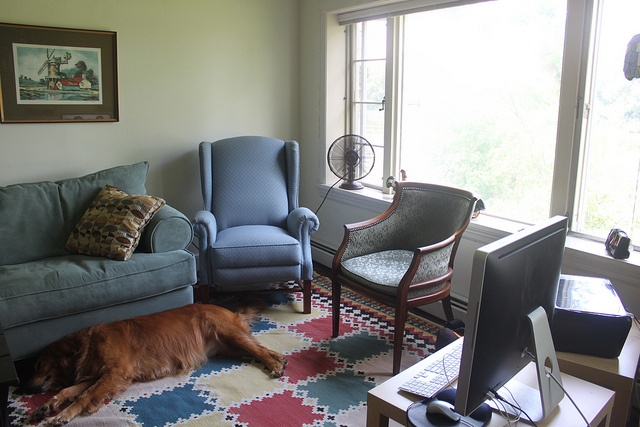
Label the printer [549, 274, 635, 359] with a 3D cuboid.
[{"bbox_3d":[1.367,0.621,2.585,0.393,0.250,0.506,5,36,16],"label":"printer"}]

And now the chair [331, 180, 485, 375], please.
[{"bbox_3d":[0.587,0.399,3.518,0.927,1.165,0.941,8,17,24],"label":"chair"}]

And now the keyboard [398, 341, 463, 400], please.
[{"bbox_3d":[0.544,0.778,2.390,0.146,0.067,0.487,29,38,34],"label":"keyboard"}]

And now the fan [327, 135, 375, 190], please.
[{"bbox_3d":[0.300,-0.491,4.505,0.536,0.605,0.278,0,-1,7],"label":"fan"}]

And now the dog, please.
[{"bbox_3d":[-1.042,0.927,3.473,1.831,0.658,0.621,-15,60,-25],"label":"dog"}]

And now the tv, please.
[{"bbox_3d":[0.863,0.486,2.145,0.272,0.788,0.772,15,21,42],"label":"tv"}]

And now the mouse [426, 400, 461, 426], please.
[{"bbox_3d":[0.531,0.849,2.072,0.130,0.049,0.066,4,8,37],"label":"mouse"}]

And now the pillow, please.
[{"bbox_3d":[-1.657,0.173,3.630,0.577,0.560,0.180,0,-23,14],"label":"pillow"}]
